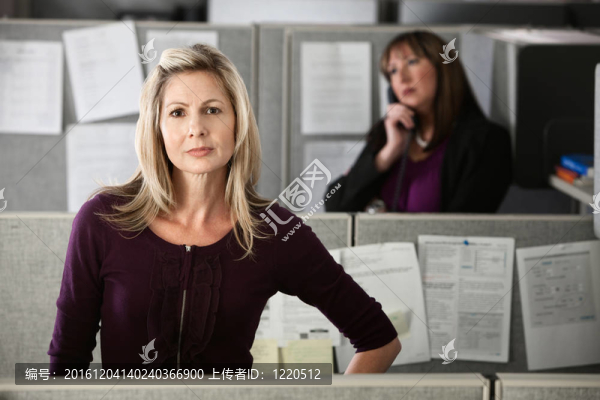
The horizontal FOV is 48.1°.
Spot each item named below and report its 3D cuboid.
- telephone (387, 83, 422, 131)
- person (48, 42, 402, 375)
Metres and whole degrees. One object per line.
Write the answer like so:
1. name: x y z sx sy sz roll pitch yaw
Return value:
1. telephone: 0.311 -0.275 2.001 0.101 0.130 0.040 -1 23 35
2. person: -0.263 0.024 1.967 0.983 1.324 0.361 0 0 -11
